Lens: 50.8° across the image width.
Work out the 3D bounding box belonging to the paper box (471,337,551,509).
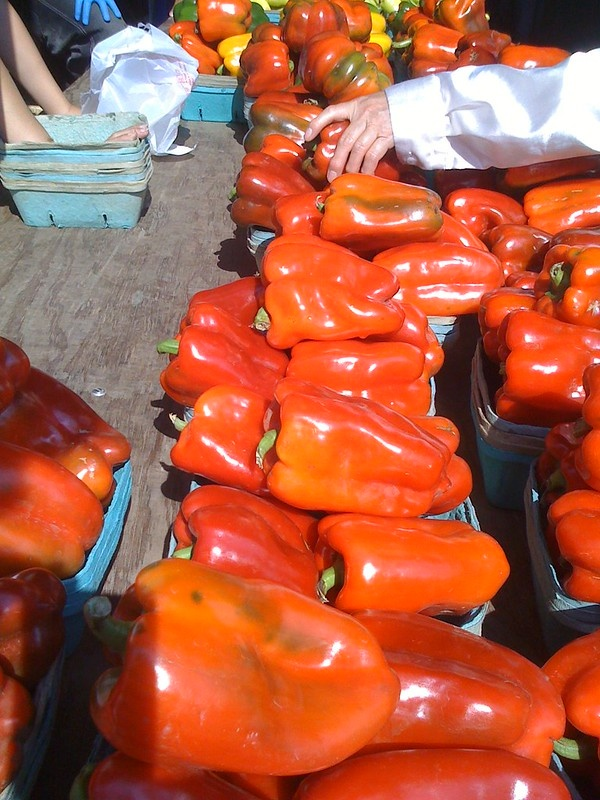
[{"bbox_3d":[0.619,0.099,2.144,0.313,0.270,0.411,4,52,2],"label":"paper box"}]

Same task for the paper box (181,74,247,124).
[{"bbox_3d":[-0.662,-2.304,4.878,0.362,0.217,0.331,-4,44,-9],"label":"paper box"}]
